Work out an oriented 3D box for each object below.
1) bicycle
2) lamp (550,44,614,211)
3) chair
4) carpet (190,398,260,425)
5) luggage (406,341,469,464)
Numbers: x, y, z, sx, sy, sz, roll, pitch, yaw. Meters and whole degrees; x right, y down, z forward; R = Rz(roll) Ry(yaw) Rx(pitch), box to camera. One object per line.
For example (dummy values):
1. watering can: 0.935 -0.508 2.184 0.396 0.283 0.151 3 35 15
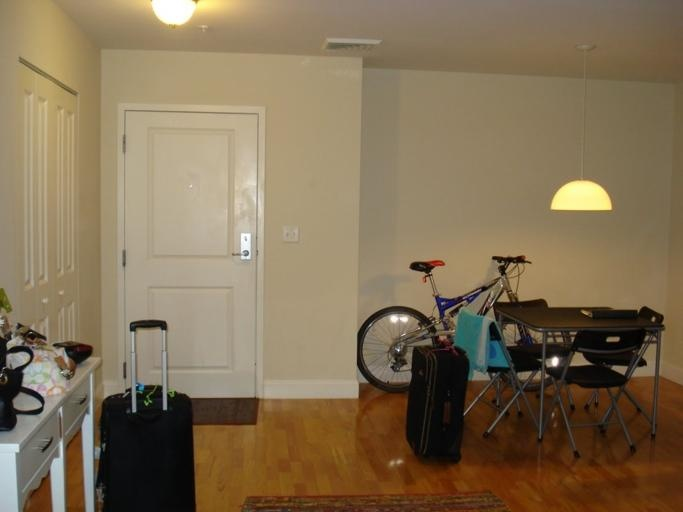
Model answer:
1. bicycle: 1.056 0.635 5.679 1.861 1.181 0.936 -2 4 -7
2. lamp: 2.165 -1.039 5.128 0.529 1.384 1.332 5 11 25
3. chair: 1.901 0.731 4.558 1.086 0.962 1.325 1 2 1
4. carpet: -0.958 1.252 4.736 0.566 0.028 0.514 0 10 -5
5. luggage: 0.676 1.011 4.090 0.408 0.770 0.372 1 10 4
